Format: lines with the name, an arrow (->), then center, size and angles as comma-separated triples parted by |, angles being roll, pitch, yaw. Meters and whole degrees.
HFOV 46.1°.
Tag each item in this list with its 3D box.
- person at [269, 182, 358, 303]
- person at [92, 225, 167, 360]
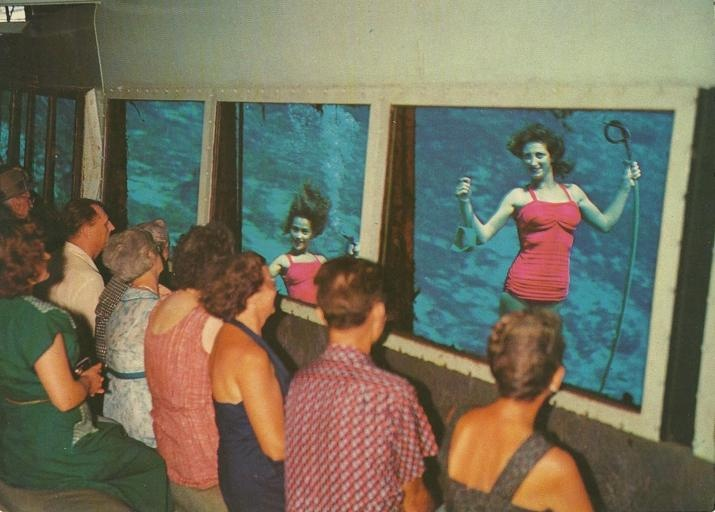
person -> -0.224, -0.086, 4.564 | 0.648, 0.818, 0.320 | 0, -12, -10
person -> -1.312, 0.192, 4.785 | 0.454, 0.788, 0.163 | 4, 7, -39
